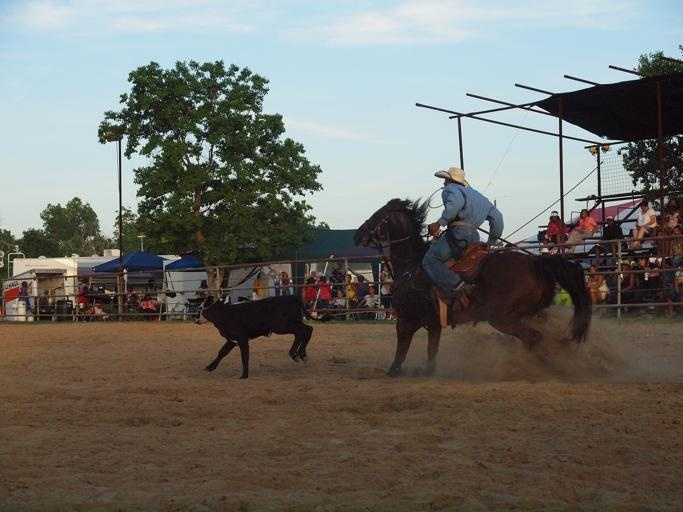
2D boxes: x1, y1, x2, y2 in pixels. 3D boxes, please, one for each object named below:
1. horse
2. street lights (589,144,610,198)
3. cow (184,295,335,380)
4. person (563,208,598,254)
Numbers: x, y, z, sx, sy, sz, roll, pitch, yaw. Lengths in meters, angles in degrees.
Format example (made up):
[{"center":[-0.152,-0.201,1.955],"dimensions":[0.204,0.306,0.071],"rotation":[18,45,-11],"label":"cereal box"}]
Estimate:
[{"center":[1.801,0.484,15.953],"dimensions":[3.951,2.448,1.045],"rotation":[3,-1,39],"label":"horse"},{"center":[6.140,-2.049,26.971],"dimensions":[0.067,1.307,0.733],"rotation":[-8,9,-28],"label":"street lights"},{"center":[-1.271,1.126,16.378],"dimensions":[1.889,1.238,0.484],"rotation":[-9,-10,17],"label":"cow"},{"center":[5.016,-0.525,23.580],"dimensions":[0.634,0.905,0.451],"rotation":[-4,11,-7],"label":"person"}]
